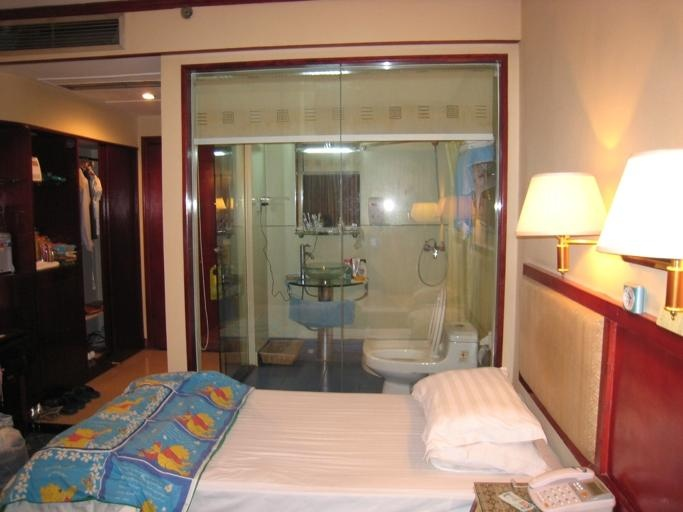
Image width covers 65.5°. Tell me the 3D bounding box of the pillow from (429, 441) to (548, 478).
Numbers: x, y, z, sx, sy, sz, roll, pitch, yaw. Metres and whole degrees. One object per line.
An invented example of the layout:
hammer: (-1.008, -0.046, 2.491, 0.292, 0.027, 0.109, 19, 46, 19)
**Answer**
pillow: (0.752, 0.986, 2.606, 0.334, 0.089, 0.248, -1, -3, 4)

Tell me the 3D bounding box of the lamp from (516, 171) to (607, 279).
lamp: (1.056, -0.131, 2.543, 0.407, 0.483, 0.430, 4, -1, -2)

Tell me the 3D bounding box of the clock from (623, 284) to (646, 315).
clock: (1.194, 0.174, 2.151, 0.059, 0.113, 0.120, 1, 1, -7)

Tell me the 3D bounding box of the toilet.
toilet: (0.553, 0.770, 3.904, 0.807, 0.586, 0.497, 2, 10, 5)

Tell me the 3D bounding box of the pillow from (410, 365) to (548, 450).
pillow: (0.708, 0.777, 2.705, 0.403, 0.119, 0.433, -4, 26, -2)
